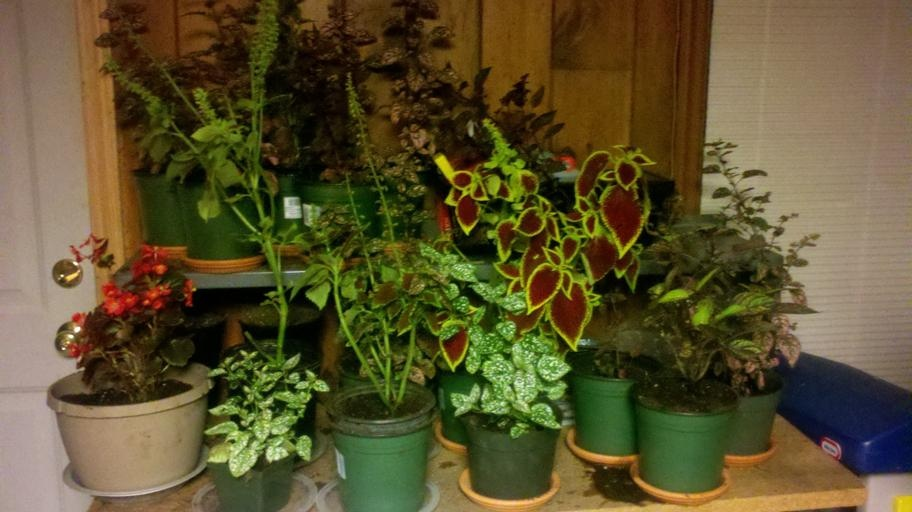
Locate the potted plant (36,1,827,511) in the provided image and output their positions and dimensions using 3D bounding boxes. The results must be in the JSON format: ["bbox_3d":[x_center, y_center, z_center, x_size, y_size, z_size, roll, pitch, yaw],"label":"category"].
[{"bbox_3d":[-0.558,-0.027,3.000,2.567,1.951,1.250,1,17,12],"label":"potted plant"}]
